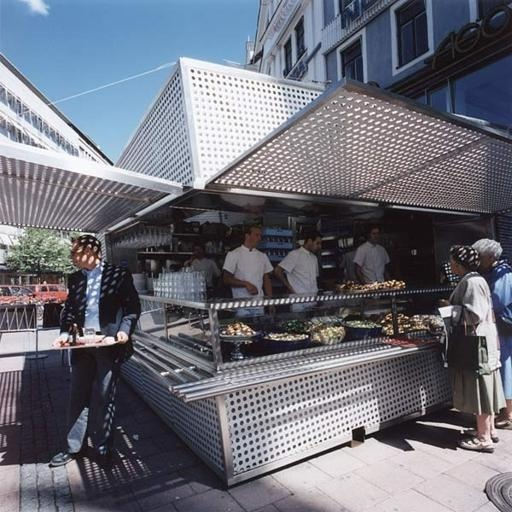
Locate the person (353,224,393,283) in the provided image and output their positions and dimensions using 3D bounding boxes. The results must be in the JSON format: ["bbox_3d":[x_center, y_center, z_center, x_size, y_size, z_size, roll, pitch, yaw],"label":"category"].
[{"bbox_3d":[1.713,0.036,6.281,0.750,0.759,0.284,-2,1,-43],"label":"person"}]

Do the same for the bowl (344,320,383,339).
[{"bbox_3d":[1.082,0.753,4.285,0.417,0.180,0.192,-3,1,-40],"label":"bowl"}]

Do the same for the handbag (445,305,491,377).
[{"bbox_3d":[1.797,0.734,3.604,0.333,0.508,0.200,-2,0,22],"label":"handbag"}]

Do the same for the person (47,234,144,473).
[{"bbox_3d":[-1.342,0.791,3.467,0.732,2.030,0.672,-2,0,4],"label":"person"}]

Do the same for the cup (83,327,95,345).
[{"bbox_3d":[-1.250,0.607,3.163,0.095,0.139,0.166,-2,1,-22],"label":"cup"}]

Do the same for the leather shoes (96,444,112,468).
[{"bbox_3d":[-1.243,1.656,3.464,0.145,0.206,0.088,-2,1,-37],"label":"leather shoes"}]

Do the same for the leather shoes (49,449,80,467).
[{"bbox_3d":[-1.597,1.715,3.545,0.099,0.093,0.242,26,-4,21],"label":"leather shoes"}]

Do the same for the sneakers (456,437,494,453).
[{"bbox_3d":[1.914,1.647,3.648,0.126,0.091,0.227,3,-3,-43],"label":"sneakers"}]

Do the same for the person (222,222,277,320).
[{"bbox_3d":[-0.105,0.073,4.807,0.521,0.962,0.721,-2,1,8],"label":"person"}]
